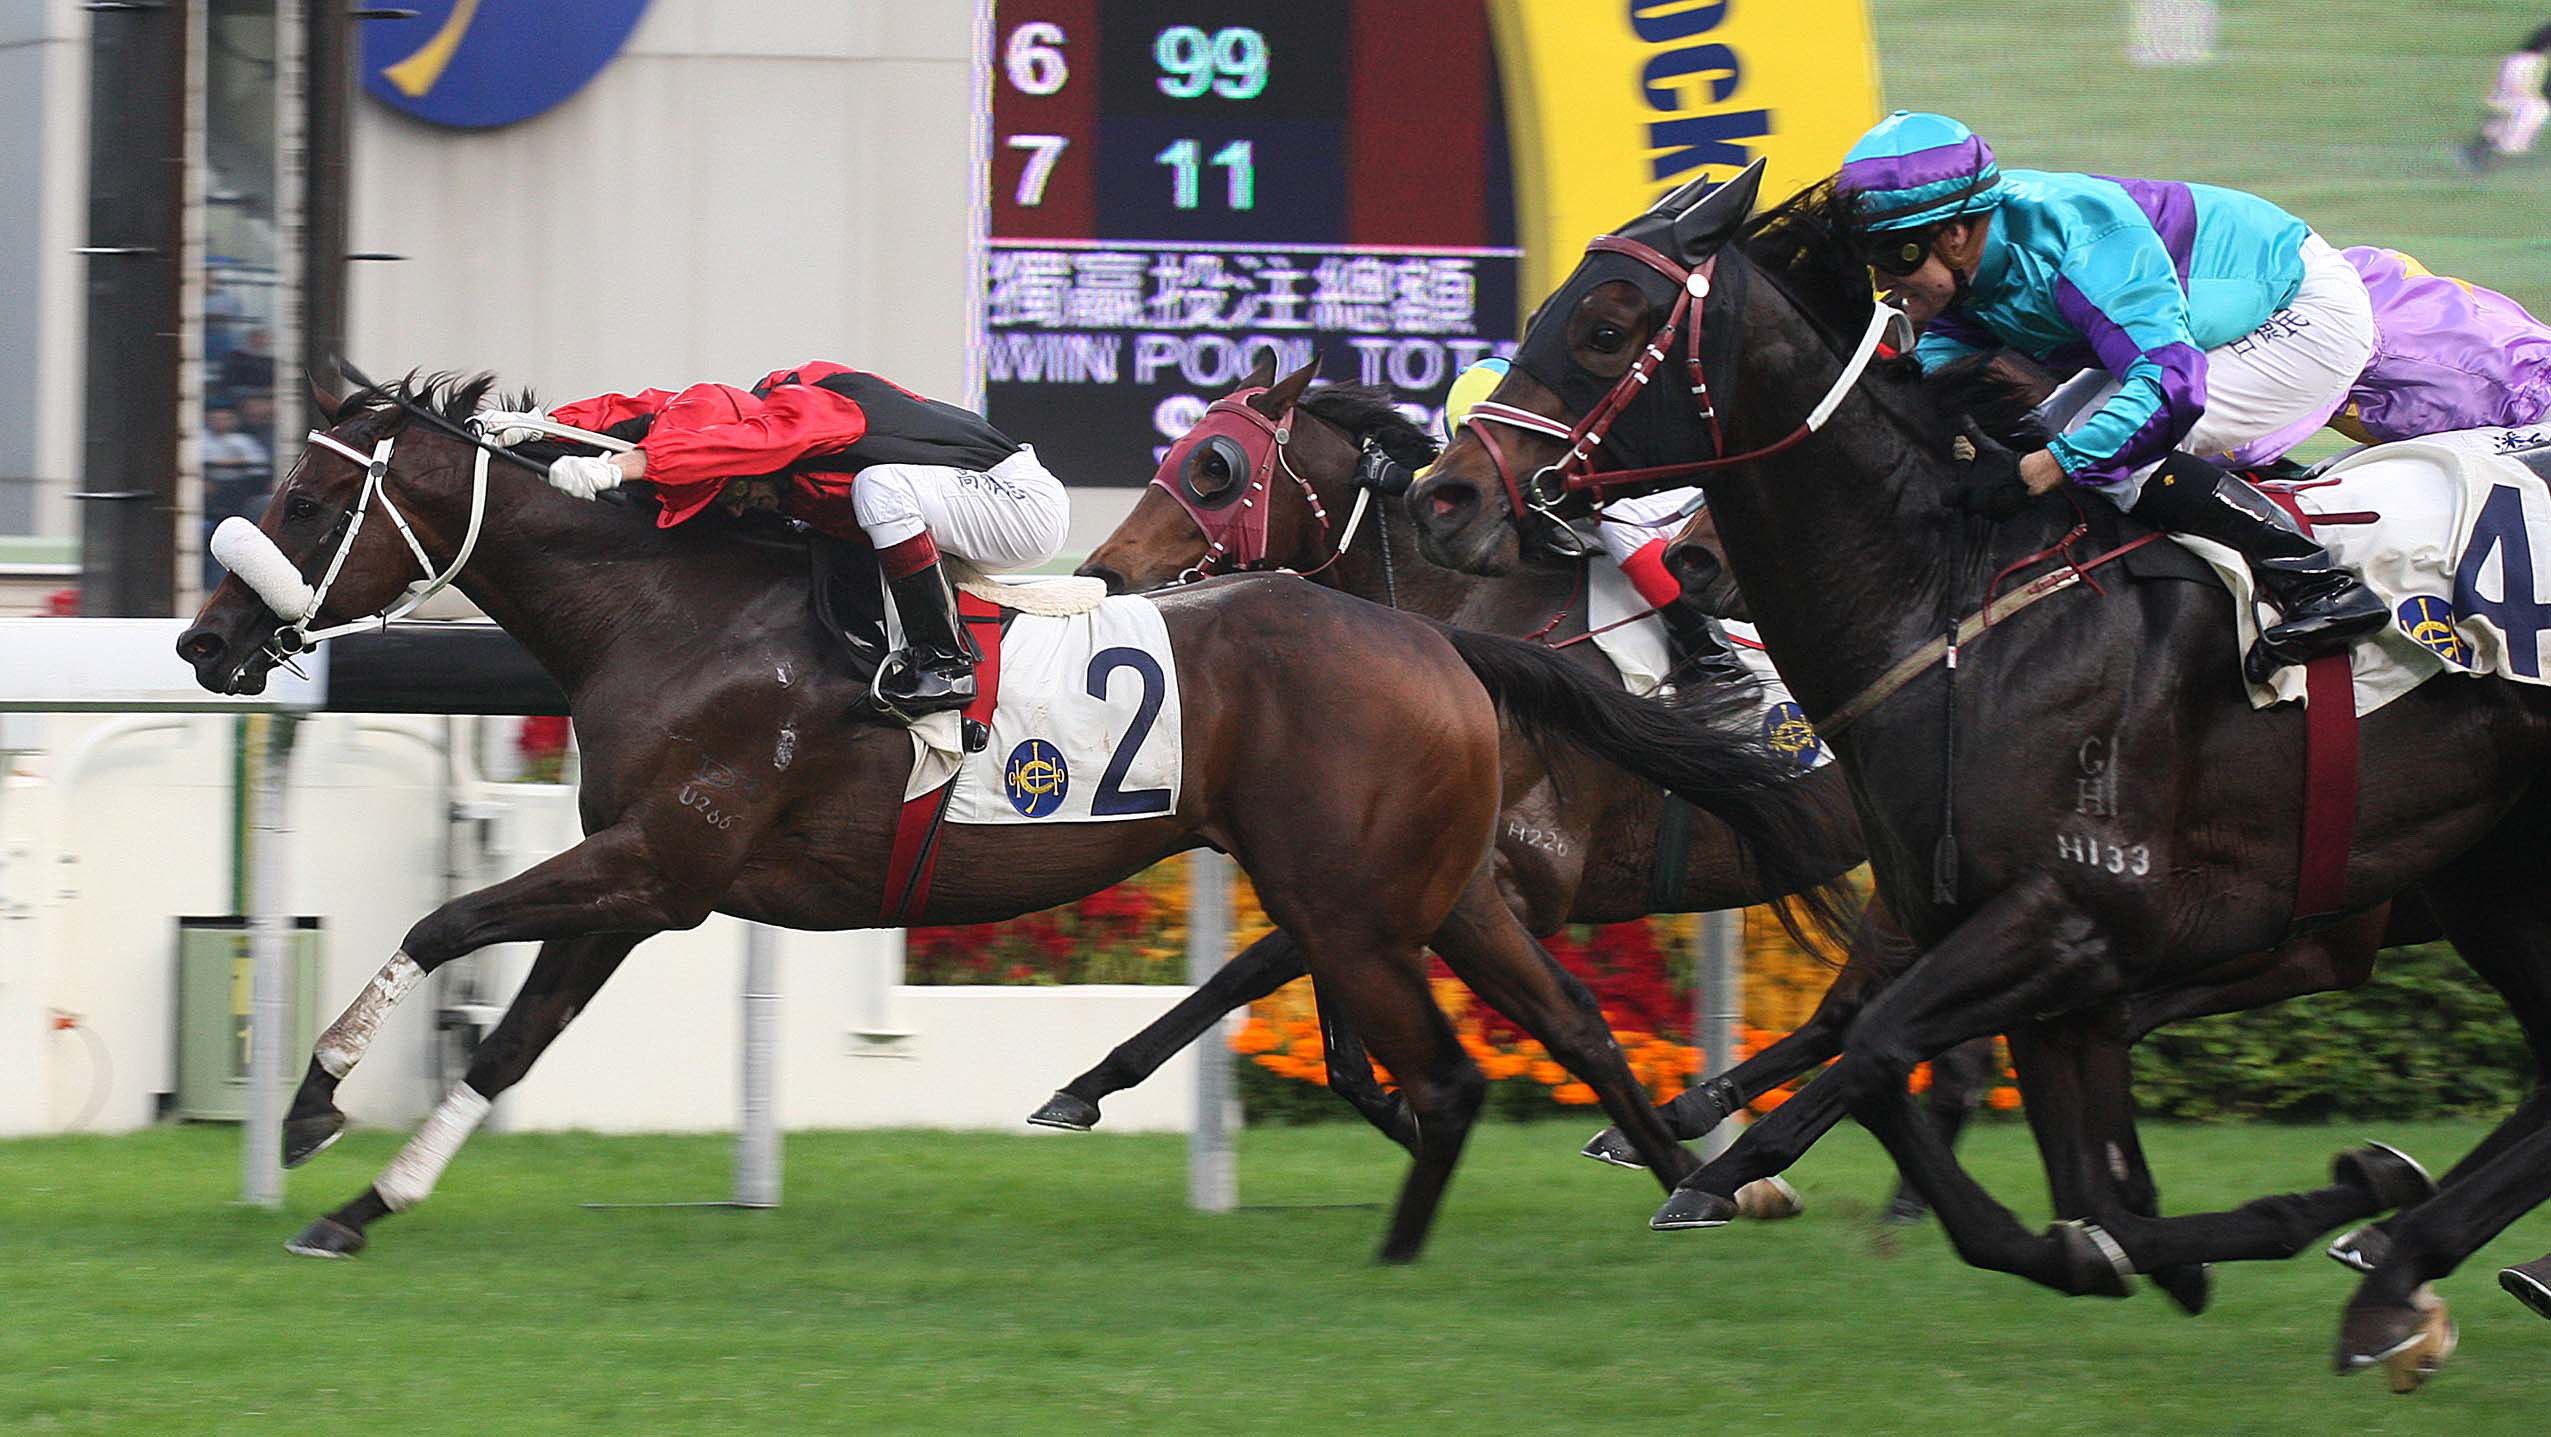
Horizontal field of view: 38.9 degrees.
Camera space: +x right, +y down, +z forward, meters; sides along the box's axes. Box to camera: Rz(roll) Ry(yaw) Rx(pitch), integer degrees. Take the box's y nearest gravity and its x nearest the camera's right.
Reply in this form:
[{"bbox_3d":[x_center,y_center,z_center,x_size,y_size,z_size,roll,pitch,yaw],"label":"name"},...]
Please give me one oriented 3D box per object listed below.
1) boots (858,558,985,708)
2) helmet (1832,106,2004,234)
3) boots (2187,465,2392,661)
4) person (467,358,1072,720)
[{"bbox_3d":[-0.901,-0.230,9.328,0.275,0.441,0.172,0,15,-5],"label":"boots"},{"bbox_3d":[1.510,-1.325,8.630,0.472,0.223,0.256,-17,34,-1],"label":"helmet"},{"bbox_3d":[2.379,-0.353,8.546,0.394,0.448,0.196,13,19,41],"label":"boots"},{"bbox_3d":[-1.165,-0.518,9.646,1.751,0.558,0.942,3,-4,-6],"label":"person"}]
